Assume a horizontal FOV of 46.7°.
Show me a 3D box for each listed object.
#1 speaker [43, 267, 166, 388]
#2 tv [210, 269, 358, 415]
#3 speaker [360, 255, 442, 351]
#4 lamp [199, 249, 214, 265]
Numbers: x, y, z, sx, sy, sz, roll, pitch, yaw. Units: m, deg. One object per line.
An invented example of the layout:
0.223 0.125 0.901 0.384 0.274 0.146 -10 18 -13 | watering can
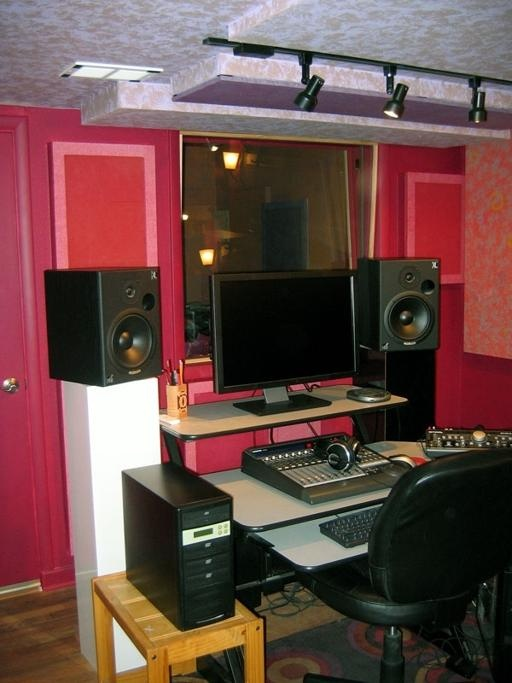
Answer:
-0.470 -0.067 2.104 0.436 0.473 0.360 5 10 32 | speaker
0.113 -0.009 2.386 0.647 0.503 0.180 -6 9 -31 | tv
0.590 -0.158 2.439 0.327 0.370 0.260 -3 8 0 | speaker
-0.233 -0.406 2.847 0.082 0.074 0.075 -1 -1 -16 | lamp
